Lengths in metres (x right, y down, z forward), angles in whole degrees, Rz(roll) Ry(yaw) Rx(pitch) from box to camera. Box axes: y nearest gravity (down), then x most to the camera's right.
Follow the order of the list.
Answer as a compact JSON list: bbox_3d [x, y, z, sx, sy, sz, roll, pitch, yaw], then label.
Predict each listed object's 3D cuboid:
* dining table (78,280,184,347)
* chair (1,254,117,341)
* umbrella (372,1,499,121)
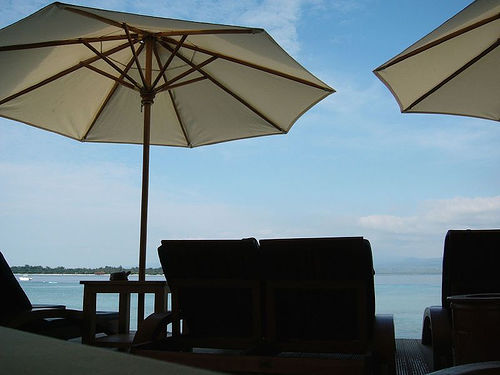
[{"bbox_3d":[-1.117,1.031,4.553,0.666,0.571,0.648,8,-8,-39],"label":"dining table"},{"bbox_3d":[-1.444,0.850,4.476,0.614,0.583,1.128,-8,-14,40],"label":"chair"},{"bbox_3d":[1.850,-1.085,5.281,1.133,0.666,1.336,-7,-8,32],"label":"umbrella"}]
